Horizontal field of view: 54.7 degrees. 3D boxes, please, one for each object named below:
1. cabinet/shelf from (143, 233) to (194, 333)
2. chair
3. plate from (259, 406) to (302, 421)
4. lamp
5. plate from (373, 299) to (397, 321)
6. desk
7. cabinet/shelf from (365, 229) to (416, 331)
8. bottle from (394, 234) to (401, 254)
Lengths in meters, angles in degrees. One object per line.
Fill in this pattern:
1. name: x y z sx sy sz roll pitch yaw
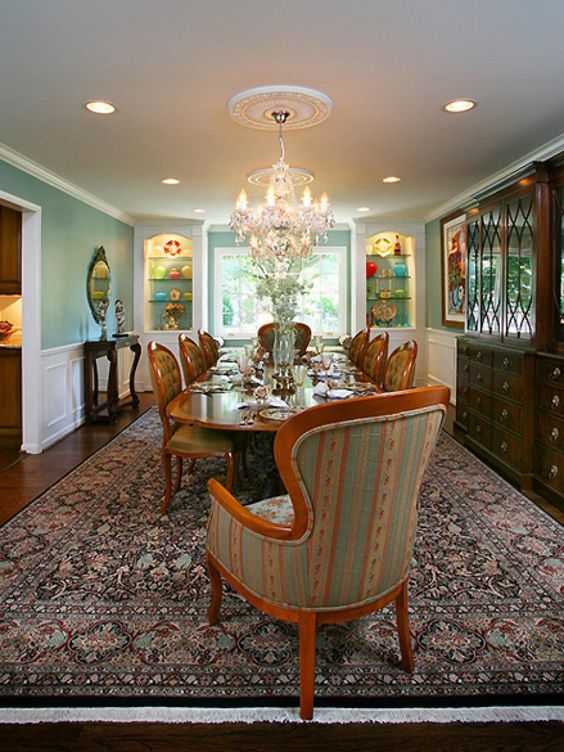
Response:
1. cabinet/shelf: -1.550 -1.295 7.537 0.643 1.340 0.533 -2 6 -12
2. chair: 0.209 0.281 1.761 0.739 1.125 0.831 -7 18 -27
3. plate: -0.007 0.149 2.172 0.110 0.014 0.107 -6 14 -27
4. lamp: -0.053 -1.427 4.106 0.780 1.093 0.760 2 1 1
5. plate: 1.411 -0.875 7.421 0.346 0.289 0.114 -3 7 -21
6. desk: -1.769 0.055 5.673 0.336 0.768 0.916 -1 7 -4
7. cabinet/shelf: 1.437 -1.248 7.525 0.589 1.149 0.146 4 18 33
8. bottle: 1.572 -1.794 7.448 0.097 0.282 0.184 1 6 15
